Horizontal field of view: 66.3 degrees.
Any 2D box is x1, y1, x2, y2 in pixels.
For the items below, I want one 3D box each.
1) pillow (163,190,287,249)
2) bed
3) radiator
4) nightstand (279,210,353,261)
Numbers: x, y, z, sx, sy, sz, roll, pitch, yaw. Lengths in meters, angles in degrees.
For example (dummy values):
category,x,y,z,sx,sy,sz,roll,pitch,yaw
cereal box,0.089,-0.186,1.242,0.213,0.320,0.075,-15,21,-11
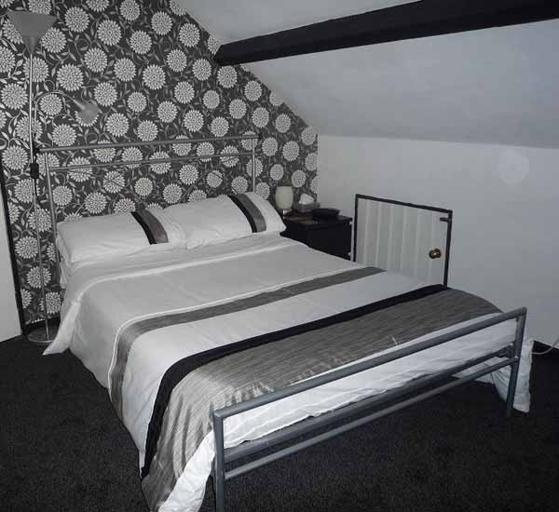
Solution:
category,x,y,z,sx,sy,sz,roll,pitch,yaw
pillow,-0.412,-0.302,3.480,0.705,0.164,0.494,-12,43,-22
bed,-0.343,0.205,2.483,1.956,1.075,2.478,-13,27,-29
radiator,1.062,-0.137,3.558,0.106,0.693,0.683,-22,31,-39
nightstand,0.352,-0.272,4.076,0.485,0.453,0.471,-17,25,-39
